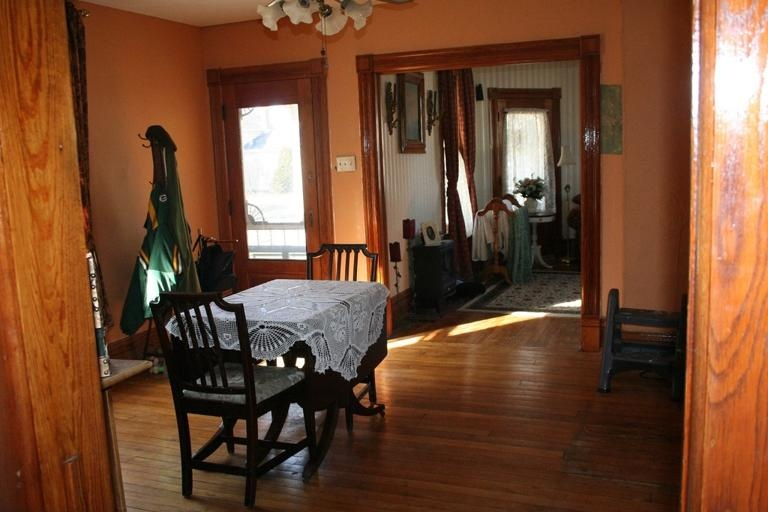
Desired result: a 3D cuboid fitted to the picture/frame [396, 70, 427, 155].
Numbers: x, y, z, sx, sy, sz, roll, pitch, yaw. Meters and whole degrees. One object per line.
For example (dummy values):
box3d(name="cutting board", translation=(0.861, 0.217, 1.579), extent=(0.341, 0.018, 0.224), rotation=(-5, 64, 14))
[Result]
box3d(name="picture/frame", translation=(0.318, -1.660, 6.929), extent=(0.156, 0.932, 0.856), rotation=(1, 10, 17))

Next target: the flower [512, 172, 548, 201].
box3d(name="flower", translation=(2.275, -1.081, 9.258), extent=(0.452, 0.400, 0.453), rotation=(-15, 24, -40))

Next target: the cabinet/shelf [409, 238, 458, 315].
box3d(name="cabinet/shelf", translation=(0.544, 0.227, 7.002), extent=(0.449, 0.765, 0.528), rotation=(1, 10, 18))

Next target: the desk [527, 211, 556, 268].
box3d(name="desk", translation=(2.420, -0.296, 9.627), extent=(0.685, 0.812, 0.704), rotation=(5, 12, 34))

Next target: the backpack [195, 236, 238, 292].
box3d(name="backpack", translation=(-1.494, 0.150, 5.328), extent=(0.245, 0.434, 0.362), rotation=(15, -20, -41))

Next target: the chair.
box3d(name="chair", translation=(-0.637, 0.697, 3.650), extent=(1.279, 1.231, 0.932), rotation=(-4, 10, -10))

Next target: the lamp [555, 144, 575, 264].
box3d(name="lamp", translation=(2.932, -0.915, 9.522), extent=(0.317, 1.650, 0.330), rotation=(-12, 14, -24))

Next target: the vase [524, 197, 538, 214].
box3d(name="vase", translation=(2.286, -0.758, 9.199), extent=(0.232, 0.256, 0.230), rotation=(17, 27, 40))

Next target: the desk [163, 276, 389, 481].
box3d(name="desk", translation=(-0.625, 0.416, 3.865), extent=(1.006, 1.052, 1.532), rotation=(1, 7, 14))
